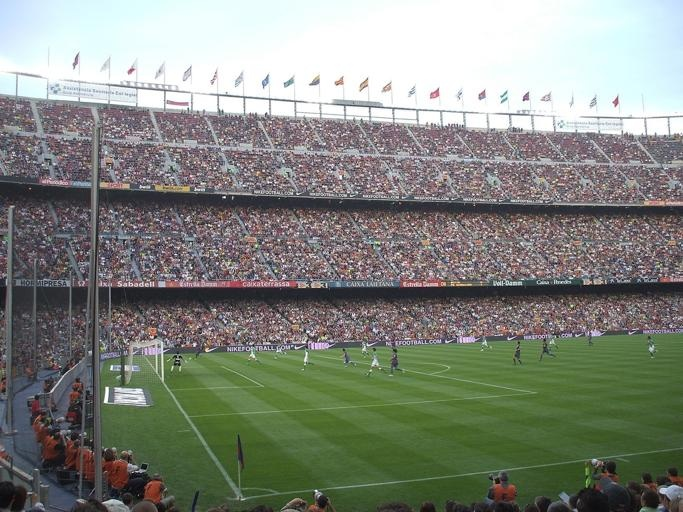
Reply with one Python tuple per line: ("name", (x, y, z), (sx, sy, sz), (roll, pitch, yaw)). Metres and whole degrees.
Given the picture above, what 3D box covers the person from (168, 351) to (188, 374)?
("person", (-13.795, 9.085, 77.590), (1.361, 0.686, 1.962), (-4, -48, -22))
